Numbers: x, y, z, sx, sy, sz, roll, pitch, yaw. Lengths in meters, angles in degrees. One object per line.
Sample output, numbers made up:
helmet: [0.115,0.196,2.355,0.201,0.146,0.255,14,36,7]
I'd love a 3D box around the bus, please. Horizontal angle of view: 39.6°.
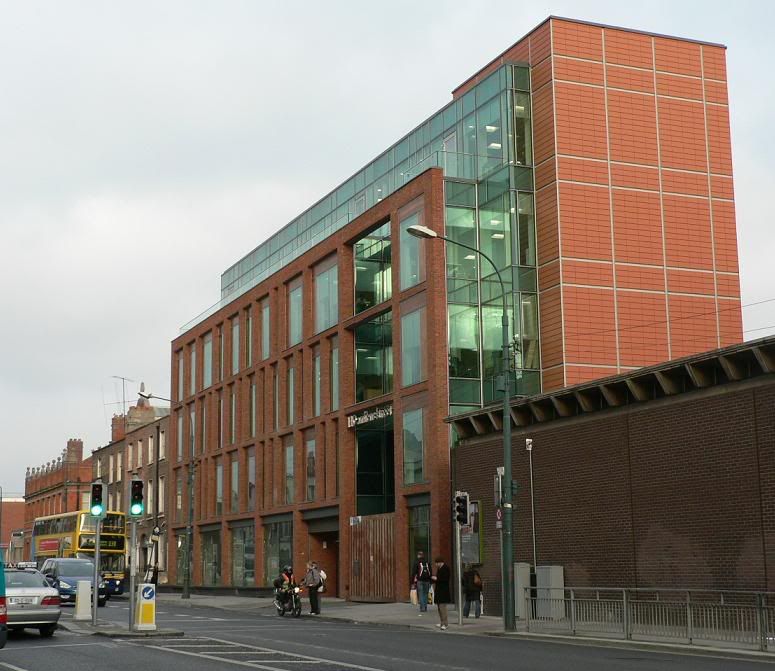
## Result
bus: [-19.561,13.630,66.502,4.027,5.202,10.955,8,-14,-32]

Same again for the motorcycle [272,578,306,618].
motorcycle: [-3.339,9.435,38.224,0.966,1.093,1.928,6,-18,-23]
